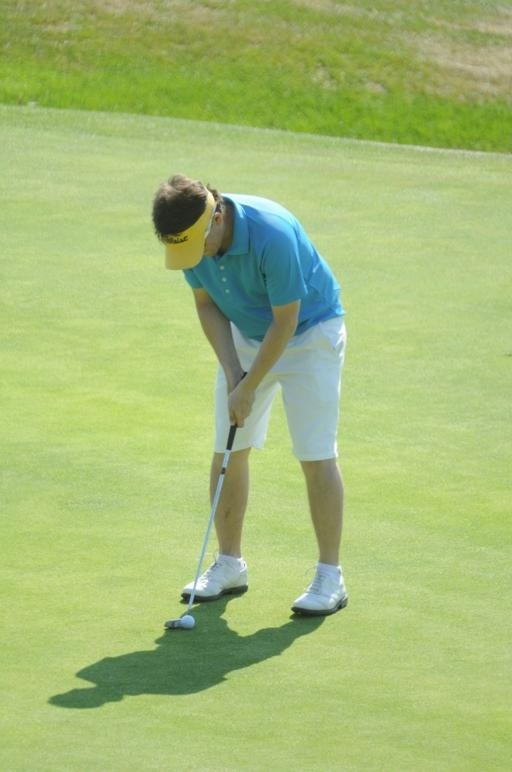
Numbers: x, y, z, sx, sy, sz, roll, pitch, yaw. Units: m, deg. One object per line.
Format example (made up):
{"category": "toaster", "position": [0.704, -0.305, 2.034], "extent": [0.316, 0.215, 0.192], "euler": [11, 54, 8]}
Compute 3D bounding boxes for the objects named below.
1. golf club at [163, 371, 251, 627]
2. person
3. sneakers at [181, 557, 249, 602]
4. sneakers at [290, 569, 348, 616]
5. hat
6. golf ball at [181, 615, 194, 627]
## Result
{"category": "golf club", "position": [-0.139, 0.403, 4.098], "extent": [0.133, 0.907, 0.125], "euler": [18, -4, 6]}
{"category": "person", "position": [-0.006, 0.038, 4.093], "extent": [0.738, 1.358, 0.501], "euler": [6, 12, -4]}
{"category": "sneakers", "position": [-0.113, 0.630, 4.204], "extent": [0.246, 0.120, 0.102], "euler": [-2, 7, -42]}
{"category": "sneakers", "position": [0.212, 0.651, 4.125], "extent": [0.118, 0.155, 0.257], "euler": [3, 3, 28]}
{"category": "hat", "position": [-0.196, -0.480, 3.792], "extent": [0.145, 0.235, 0.066], "euler": [10, -10, 19]}
{"category": "golf ball", "position": [-0.209, 0.720, 3.945], "extent": [0.030, 0.034, 0.039], "euler": [1, 15, -37]}
